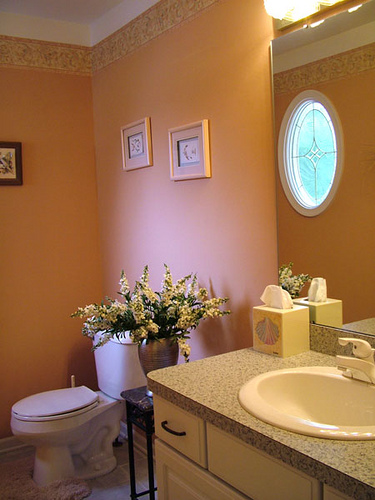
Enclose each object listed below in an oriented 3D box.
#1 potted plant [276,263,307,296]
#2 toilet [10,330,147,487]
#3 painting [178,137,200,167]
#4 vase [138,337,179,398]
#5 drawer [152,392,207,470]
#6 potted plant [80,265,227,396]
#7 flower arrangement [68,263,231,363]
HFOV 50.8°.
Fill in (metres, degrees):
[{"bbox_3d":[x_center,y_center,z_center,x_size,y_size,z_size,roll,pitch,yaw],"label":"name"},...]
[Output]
[{"bbox_3d":[0.356,0.119,1.425,0.118,0.083,0.151,-12,-35,23],"label":"potted plant"},{"bbox_3d":[-0.604,0.829,2.164,0.675,0.737,0.455,0,-1,-32],"label":"toilet"},{"bbox_3d":[0.010,-0.470,1.888,0.014,0.133,0.183,-11,13,-36],"label":"painting"},{"bbox_3d":[-0.125,0.497,1.724,0.159,0.236,0.161,-3,-5,33],"label":"vase"},{"bbox_3d":[-0.009,0.454,1.034,0.131,0.106,0.172,0,3,-34],"label":"drawer"},{"bbox_3d":[-0.198,0.373,1.779,0.523,0.511,0.633,-13,-5,9],"label":"potted plant"},{"bbox_3d":[-0.081,0.242,1.808,0.416,0.272,0.518,0,-12,-21],"label":"flower arrangement"}]
